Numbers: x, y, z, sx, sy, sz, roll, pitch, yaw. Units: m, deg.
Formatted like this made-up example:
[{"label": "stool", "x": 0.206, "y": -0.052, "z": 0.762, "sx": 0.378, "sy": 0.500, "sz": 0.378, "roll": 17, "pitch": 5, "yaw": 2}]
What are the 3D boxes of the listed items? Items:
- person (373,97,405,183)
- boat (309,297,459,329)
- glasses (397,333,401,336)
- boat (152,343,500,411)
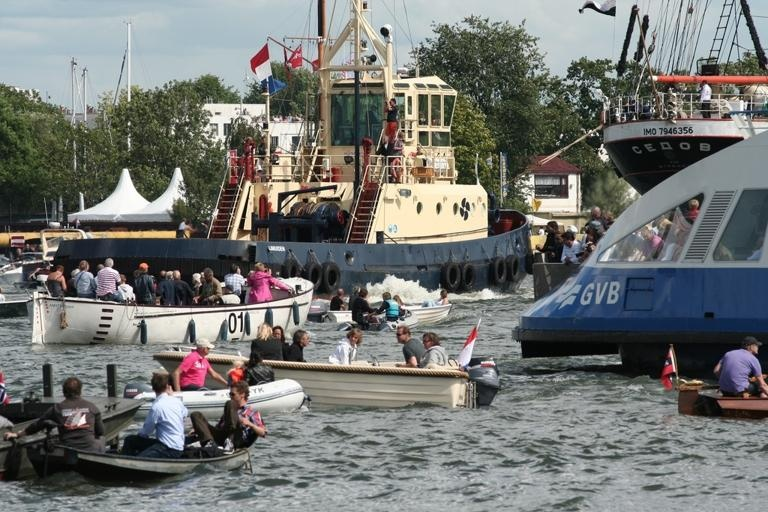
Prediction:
[{"label": "person", "x": 0.199, "y": -4.221, "z": 57.809, "sx": 1.113, "sy": 3.202, "sz": 1.030, "roll": 4, "pitch": -6, "yaw": 3}, {"label": "boat", "x": 0.460, "y": 2.012, "z": 53.329, "sx": 5.451, "sy": 0.963, "sz": 1.628, "roll": -1, "pitch": 2, "yaw": -35}, {"label": "glasses", "x": 0.428, "y": 2.207, "z": 43.221, "sx": 0.152, "sy": 0.057, "sz": 0.138, "roll": -1, "pitch": 3, "yaw": -11}, {"label": "boat", "x": 0.093, "y": 3.014, "z": 43.440, "sx": 10.669, "sy": 2.653, "sz": 2.525, "roll": 4, "pitch": -9, "yaw": 3}]
